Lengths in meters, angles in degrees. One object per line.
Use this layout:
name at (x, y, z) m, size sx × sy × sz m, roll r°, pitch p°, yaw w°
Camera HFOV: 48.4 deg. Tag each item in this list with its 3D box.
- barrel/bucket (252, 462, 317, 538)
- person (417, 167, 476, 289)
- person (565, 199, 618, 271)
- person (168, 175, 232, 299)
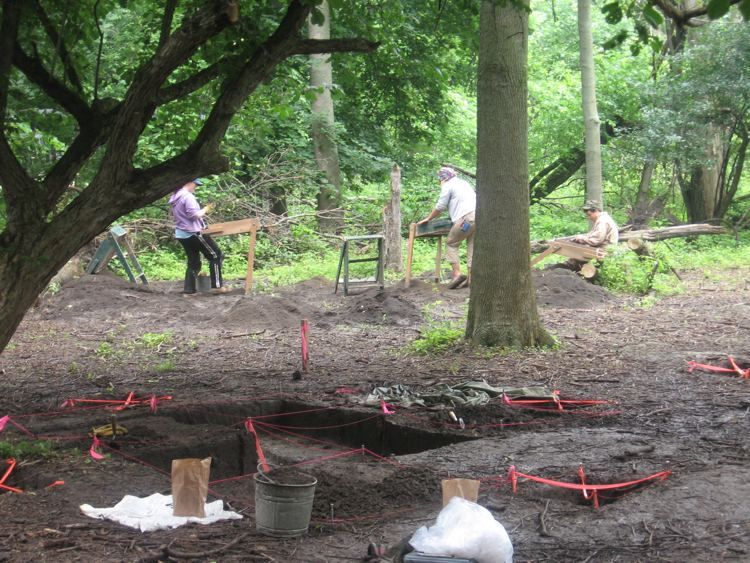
barrel/bucket at (-0.748, 1.764, 6.736) m, size 0.655 × 0.367 × 0.558 m, roll 3°, pitch -6°, yaw -19°
person at (1.397, -0.938, 14.888) m, size 0.915 × 2.160 × 1.106 m, roll -2°, pitch 9°, yaw -15°
person at (4.392, -1.114, 16.588) m, size 0.822 × 0.914 × 0.974 m, roll 2°, pitch 8°, yaw 6°
person at (-3.302, -0.796, 15.357) m, size 0.905 × 2.019 × 1.037 m, roll -1°, pitch 9°, yaw -11°
